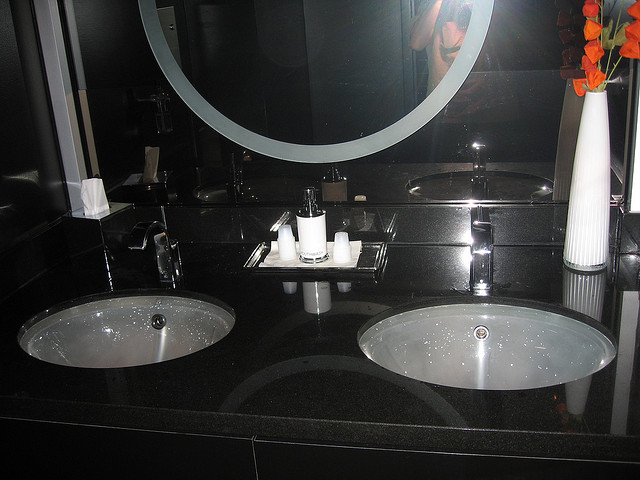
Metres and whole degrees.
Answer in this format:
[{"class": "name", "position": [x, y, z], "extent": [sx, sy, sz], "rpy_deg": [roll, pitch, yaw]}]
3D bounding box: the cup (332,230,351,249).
[{"class": "cup", "position": [0.062, -0.004, 1.387], "extent": [0.045, 0.047, 0.045], "rpy_deg": [0, -85, -3]}]

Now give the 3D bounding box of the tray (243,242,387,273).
[{"class": "tray", "position": [-0.006, 0.059, 1.373], "extent": [0.257, 0.158, 0.029], "rpy_deg": [1, -66, 5]}]
